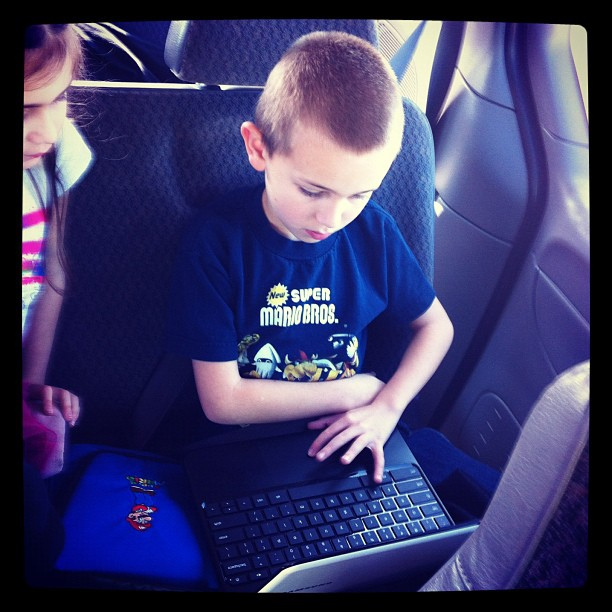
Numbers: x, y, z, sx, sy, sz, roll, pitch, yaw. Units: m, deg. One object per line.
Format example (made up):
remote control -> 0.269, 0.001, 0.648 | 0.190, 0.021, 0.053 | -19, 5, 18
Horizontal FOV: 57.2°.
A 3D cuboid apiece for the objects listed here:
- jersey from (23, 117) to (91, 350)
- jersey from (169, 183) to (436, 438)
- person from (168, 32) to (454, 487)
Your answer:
jersey -> -0.507, -0.131, 1.138 | 0.133, 0.457, 0.046 | 1, 6, -2
jersey -> 0.000, -0.038, 1.111 | 0.522, 0.322, 0.187 | 5, 34, -10
person -> 0.018, -0.001, 1.166 | 0.534, 1.000, 0.498 | -6, 39, -15
